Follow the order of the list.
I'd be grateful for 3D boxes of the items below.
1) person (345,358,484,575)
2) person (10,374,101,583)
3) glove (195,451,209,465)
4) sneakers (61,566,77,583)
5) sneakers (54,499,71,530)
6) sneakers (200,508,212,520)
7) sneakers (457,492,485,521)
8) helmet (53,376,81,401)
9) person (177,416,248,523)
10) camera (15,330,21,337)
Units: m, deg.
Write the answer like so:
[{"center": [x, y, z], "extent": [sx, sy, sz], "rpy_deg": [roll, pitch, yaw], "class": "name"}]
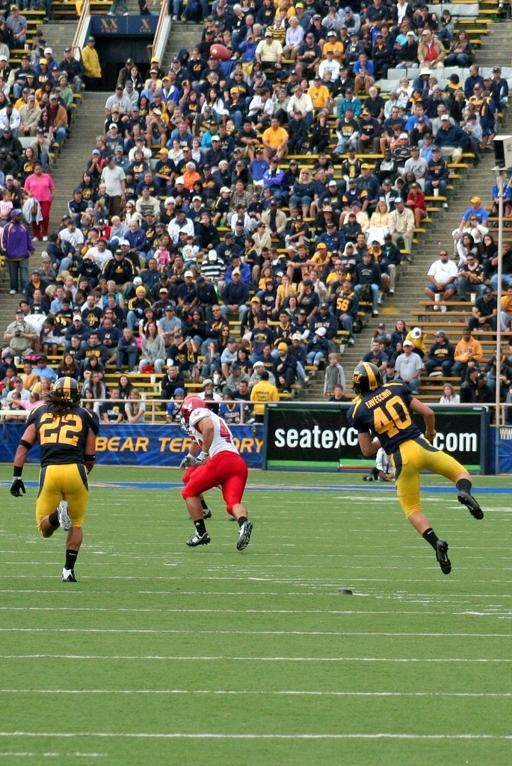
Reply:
[{"center": [1.060, 0.622, 9.396], "extent": [0.792, 1.466, 1.619], "rpy_deg": [0, 5, -5], "class": "person"}, {"center": [-1.251, 0.644, 9.144], "extent": [0.485, 1.342, 0.763], "rpy_deg": [-1, 5, -17], "class": "person"}, {"center": [-0.396, 0.560, 10.620], "extent": [0.095, 0.121, 0.192], "rpy_deg": [1, 5, -3], "class": "glove"}, {"center": [-1.225, 1.244, 9.264], "extent": [0.135, 0.091, 0.168], "rpy_deg": [8, 2, -9], "class": "sneakers"}, {"center": [-1.165, 0.817, 8.700], "extent": [0.077, 0.197, 0.092], "rpy_deg": [-8, -7, -21], "class": "sneakers"}, {"center": [-0.435, 1.160, 12.533], "extent": [0.133, 0.073, 0.178], "rpy_deg": [0, -10, 7], "class": "sneakers"}, {"center": [1.361, 0.787, 9.009], "extent": [0.138, 0.180, 0.291], "rpy_deg": [2, 5, 9], "class": "sneakers"}, {"center": [-1.215, 0.039, 9.232], "extent": [0.129, 0.137, 0.170], "rpy_deg": [2, 27, -5], "class": "helmet"}, {"center": [-0.262, 0.680, 10.536], "extent": [0.436, 0.860, 0.950], "rpy_deg": [0, 5, -10], "class": "person"}, {"center": [-3.727, -0.786, 22.263], "extent": [0.075, 0.099, 0.036], "rpy_deg": [-6, -1, -1], "class": "camera"}]
